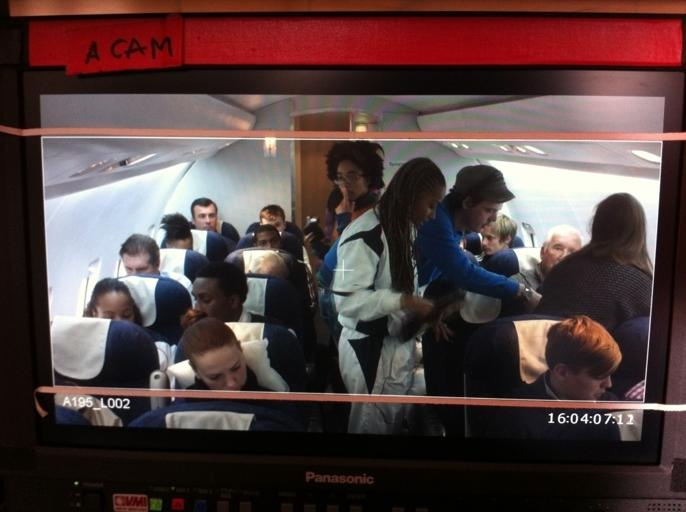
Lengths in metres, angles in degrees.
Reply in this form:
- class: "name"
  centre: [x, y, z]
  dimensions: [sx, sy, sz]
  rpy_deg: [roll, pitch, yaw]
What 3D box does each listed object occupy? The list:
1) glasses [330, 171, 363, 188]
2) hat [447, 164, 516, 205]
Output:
- class: "glasses"
  centre: [0.012, -0.209, 1.801]
  dimensions: [0.083, 0.039, 0.011]
  rpy_deg: [-1, -2, -2]
- class: "hat"
  centre: [0.382, -0.195, 1.796]
  dimensions: [0.150, 0.070, 0.098]
  rpy_deg: [8, 8, 10]
